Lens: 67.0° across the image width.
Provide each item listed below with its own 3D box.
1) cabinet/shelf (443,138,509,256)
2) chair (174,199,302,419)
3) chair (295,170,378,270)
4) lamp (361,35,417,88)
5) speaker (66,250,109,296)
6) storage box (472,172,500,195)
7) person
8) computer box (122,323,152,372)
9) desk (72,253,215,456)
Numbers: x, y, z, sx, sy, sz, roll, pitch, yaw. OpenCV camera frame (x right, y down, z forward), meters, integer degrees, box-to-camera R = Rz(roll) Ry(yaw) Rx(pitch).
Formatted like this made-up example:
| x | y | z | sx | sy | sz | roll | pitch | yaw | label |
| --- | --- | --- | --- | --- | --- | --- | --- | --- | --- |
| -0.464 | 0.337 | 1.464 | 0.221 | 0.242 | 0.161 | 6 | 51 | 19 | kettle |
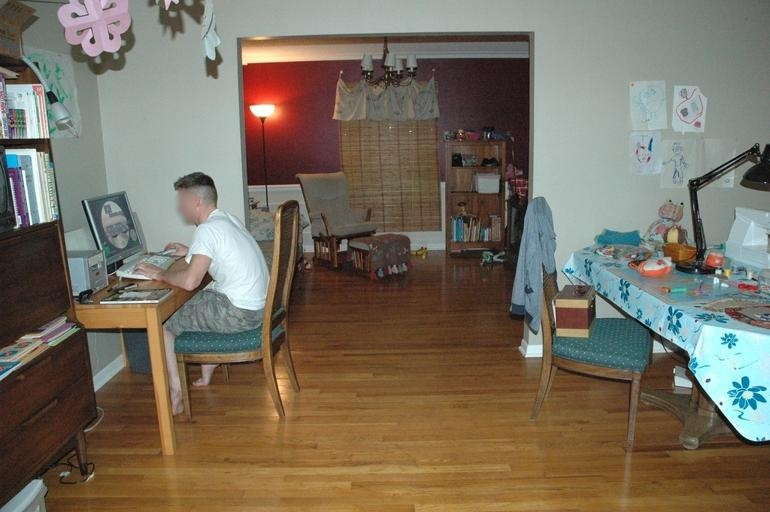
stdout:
| x | y | z | sx | sy | sz | roll | pitch | yaw | label |
| --- | --- | --- | --- | --- | --- | --- | --- | --- | --- |
| 1.267 | -0.810 | 8.097 | 0.846 | 1.542 | 0.380 | 2 | 4 | 13 | cabinet/shelf |
| -1.040 | 0.355 | 4.107 | 0.861 | 1.367 | 0.789 | -1 | 10 | 9 | chair |
| -0.604 | -0.509 | 7.780 | 1.076 | 1.139 | 1.026 | 6 | 14 | 34 | chair |
| 0.038 | -2.150 | 6.430 | 0.552 | 0.527 | 0.575 | 1 | 5 | 10 | lamp |
| -1.925 | 0.110 | 3.740 | 0.196 | 0.235 | 0.245 | 0 | 13 | 2 | speaker |
| 1.405 | -1.000 | 8.033 | 0.342 | 0.240 | 0.126 | 1 | 15 | 8 | storage box |
| -1.289 | 0.244 | 4.130 | 0.955 | 1.569 | 0.832 | 10 | 12 | 19 | person |
| -1.910 | 0.719 | 4.596 | 0.217 | 0.303 | 0.207 | -15 | 7 | -42 | computer box |
| -1.571 | 0.644 | 3.837 | 0.605 | 0.747 | 1.102 | -2 | 19 | -2 | desk |
